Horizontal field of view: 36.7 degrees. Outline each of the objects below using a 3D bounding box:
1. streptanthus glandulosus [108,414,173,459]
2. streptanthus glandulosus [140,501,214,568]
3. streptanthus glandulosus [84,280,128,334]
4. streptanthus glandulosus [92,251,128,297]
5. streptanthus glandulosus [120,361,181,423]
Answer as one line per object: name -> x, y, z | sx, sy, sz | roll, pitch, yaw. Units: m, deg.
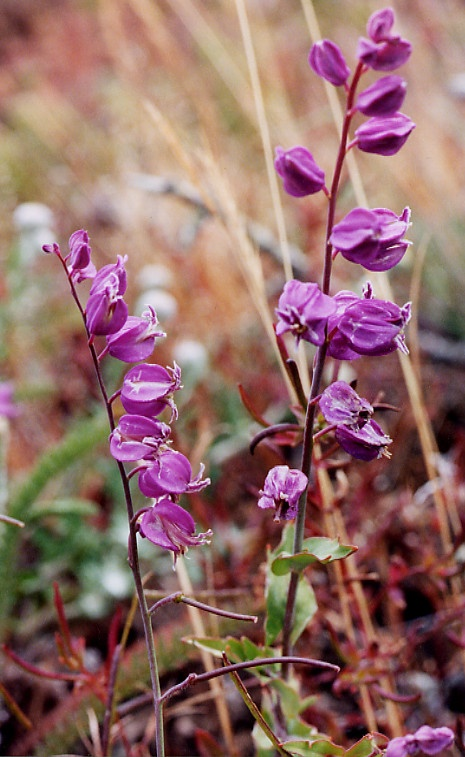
streptanthus glandulosus -> -0.049, 0.031, 0.377 | 0.027, 0.010, 0.025 | 11, 58, 16
streptanthus glandulosus -> -0.030, 0.085, 0.391 | 0.039, 0.028, 0.015 | 34, 7, -13
streptanthus glandulosus -> -0.069, -0.037, 0.382 | 0.020, 0.030, 0.012 | 42, 47, 19
streptanthus glandulosus -> -0.068, -0.059, 0.390 | 0.010, 0.027, 0.018 | -8, 65, -43
streptanthus glandulosus -> -0.047, 0.003, 0.383 | 0.036, 0.013, 0.026 | 11, 73, -9
